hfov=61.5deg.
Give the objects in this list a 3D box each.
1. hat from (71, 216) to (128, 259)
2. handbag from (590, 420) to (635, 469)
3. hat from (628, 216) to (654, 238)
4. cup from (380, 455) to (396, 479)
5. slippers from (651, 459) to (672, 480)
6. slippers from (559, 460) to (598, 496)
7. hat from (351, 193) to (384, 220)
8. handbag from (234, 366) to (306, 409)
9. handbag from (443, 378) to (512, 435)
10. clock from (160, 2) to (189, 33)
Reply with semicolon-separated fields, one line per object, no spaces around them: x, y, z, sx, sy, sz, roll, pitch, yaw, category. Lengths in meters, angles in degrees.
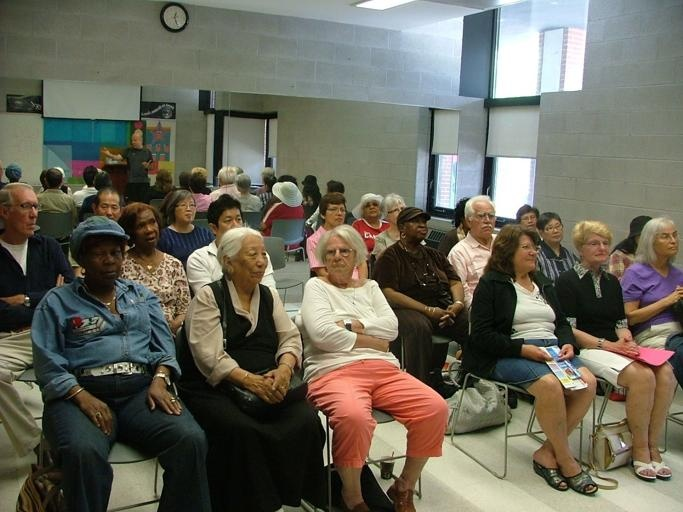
-1.225;-0.085;2.840;0.186;0.134;0.248;7;-30;-46;hat
1.703;1.178;3.574;0.294;0.299;0.168;-3;5;-24;handbag
2.448;-0.238;4.676;0.194;0.102;0.196;-25;-1;18;hat
0.265;1.213;3.326;0.081;0.122;0.130;3;13;5;cup
1.938;1.300;3.484;0.066;0.048;0.143;-3;4;-10;slippers
1.391;1.302;3.305;0.208;0.085;0.142;3;13;2;slippers
0.257;-0.537;5.740;0.258;0.127;0.296;-3;-14;-20;hat
-0.326;0.670;2.869;0.422;0.092;0.177;-9;17;-40;handbag
0.952;1.024;3.958;0.475;0.297;0.267;-9;15;-19;handbag
-1.766;-2.506;5.998;0.288;0.301;0.059;-5;11;-33;clock
